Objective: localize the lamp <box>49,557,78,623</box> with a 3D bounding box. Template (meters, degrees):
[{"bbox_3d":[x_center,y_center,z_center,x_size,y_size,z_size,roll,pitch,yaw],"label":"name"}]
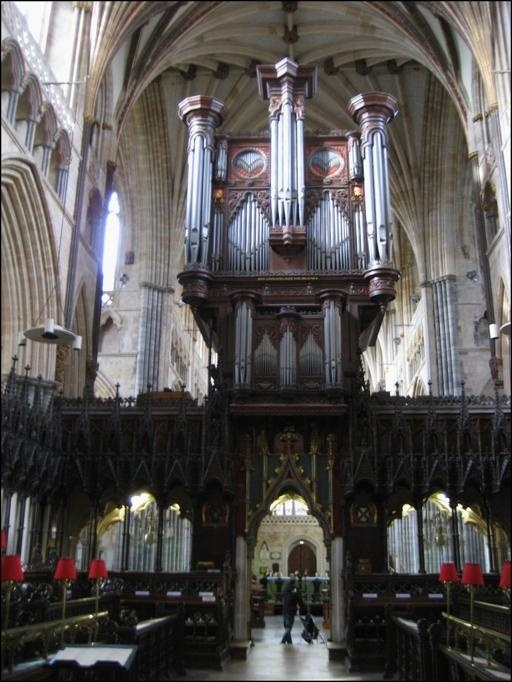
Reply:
[{"bbox_3d":[-2.152,2.821,6.817,0.199,0.759,0.206,1,-8,-7],"label":"lamp"}]

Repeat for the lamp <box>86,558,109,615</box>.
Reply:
[{"bbox_3d":[-1.969,3.107,7.552,0.203,0.772,0.195,6,-10,-36],"label":"lamp"}]
